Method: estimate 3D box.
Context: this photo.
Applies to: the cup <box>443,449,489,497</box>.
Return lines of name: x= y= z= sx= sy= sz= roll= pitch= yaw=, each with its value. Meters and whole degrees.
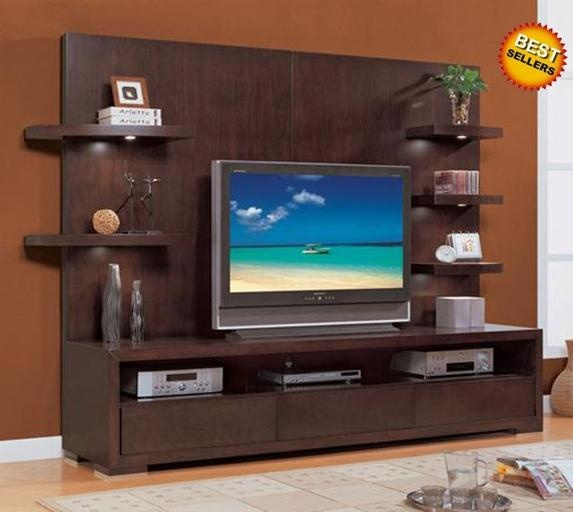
cup: x=0.494 y=0.594 z=1.728 sx=0.103 sy=0.106 sz=0.082 roll=-2 pitch=-1 yaw=6

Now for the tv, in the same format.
tv: x=0.099 y=-0.031 z=3.558 sx=1.201 sy=0.807 sz=0.112 roll=0 pitch=0 yaw=-21

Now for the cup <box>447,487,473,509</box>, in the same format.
cup: x=0.472 y=0.657 z=1.693 sx=0.067 sy=0.046 sz=0.059 roll=2 pitch=-6 yaw=0

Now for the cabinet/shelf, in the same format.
cabinet/shelf: x=-0.115 y=0.015 z=3.467 sx=2.946 sy=2.103 sz=0.739 roll=0 pitch=0 yaw=-26

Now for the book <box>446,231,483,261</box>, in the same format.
book: x=1.147 y=-0.059 z=4.077 sx=0.211 sy=0.182 sz=0.071 roll=1 pitch=-9 yaw=-22

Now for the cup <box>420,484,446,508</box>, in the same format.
cup: x=0.434 y=0.713 z=1.849 sx=0.065 sy=0.048 sz=0.065 roll=0 pitch=-1 yaw=0
